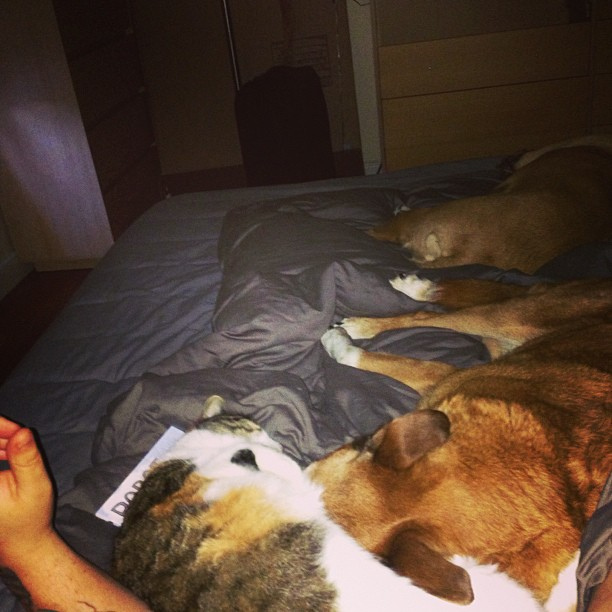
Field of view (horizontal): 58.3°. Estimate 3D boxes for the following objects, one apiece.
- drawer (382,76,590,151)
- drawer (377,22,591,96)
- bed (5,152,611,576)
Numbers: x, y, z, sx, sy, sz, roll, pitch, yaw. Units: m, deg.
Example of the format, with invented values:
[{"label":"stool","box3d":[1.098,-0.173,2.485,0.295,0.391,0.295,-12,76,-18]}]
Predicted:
[{"label":"drawer","box3d":[1.081,-1.165,3.240,1.003,0.185,0.801,-4,11,7]},{"label":"drawer","box3d":[1.502,-1.693,3.653,1.637,0.274,1.595,6,27,28]},{"label":"bed","box3d":[-0.029,0.226,1.453,1.317,0.164,1.199,-2,35,17]}]
